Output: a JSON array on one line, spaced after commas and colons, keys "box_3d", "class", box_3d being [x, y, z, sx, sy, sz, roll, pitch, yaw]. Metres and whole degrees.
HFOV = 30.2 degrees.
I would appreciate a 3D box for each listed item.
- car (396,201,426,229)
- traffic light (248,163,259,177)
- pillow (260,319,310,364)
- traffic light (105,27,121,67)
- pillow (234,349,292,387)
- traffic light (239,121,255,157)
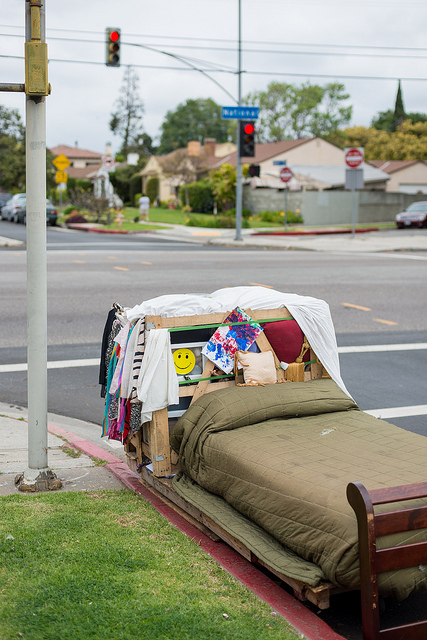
[{"box_3d": [9.562, -4.839, 36.991, 1.289, 1.254, 1.933, -3, 8, -26], "class": "car"}, {"box_3d": [1.324, -4.910, 26.123, 0.489, 0.615, 0.488, 0, 8, 0], "class": "traffic light"}, {"box_3d": [0.535, 0.154, 5.900, 0.342, 0.326, 0.091, 2, -14, -32], "class": "pillow"}, {"box_3d": [-2.064, -5.435, 15.907, 0.312, 0.718, 0.721, 0, 8, -10], "class": "traffic light"}, {"box_3d": [0.341, 0.339, 5.625, 0.428, 0.247, 0.318, -2, 8, -20], "class": "pillow"}, {"box_3d": [0.980, -5.511, 24.130, 0.535, 1.051, 0.490, 3, 8, 18], "class": "traffic light"}]
